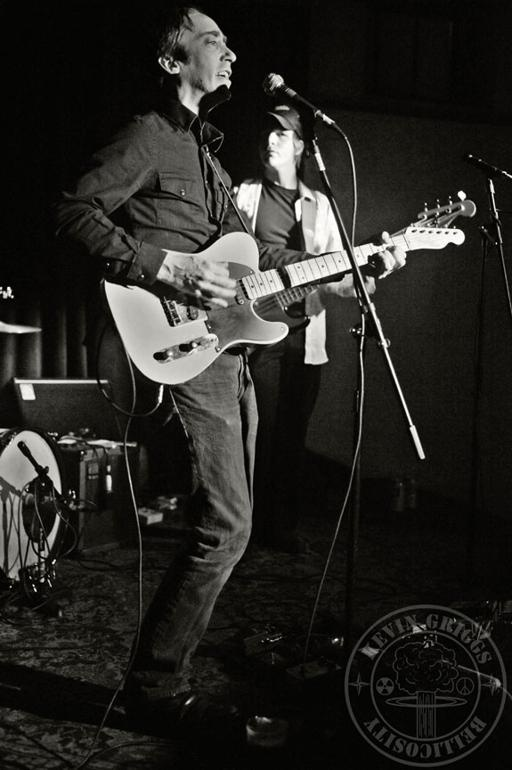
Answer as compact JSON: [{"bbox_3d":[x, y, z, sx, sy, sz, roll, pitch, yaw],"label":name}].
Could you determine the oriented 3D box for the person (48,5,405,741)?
[{"bbox_3d":[-0.202,-0.092,1.966,0.502,1.727,0.650,-1,7,0],"label":"person"}]
